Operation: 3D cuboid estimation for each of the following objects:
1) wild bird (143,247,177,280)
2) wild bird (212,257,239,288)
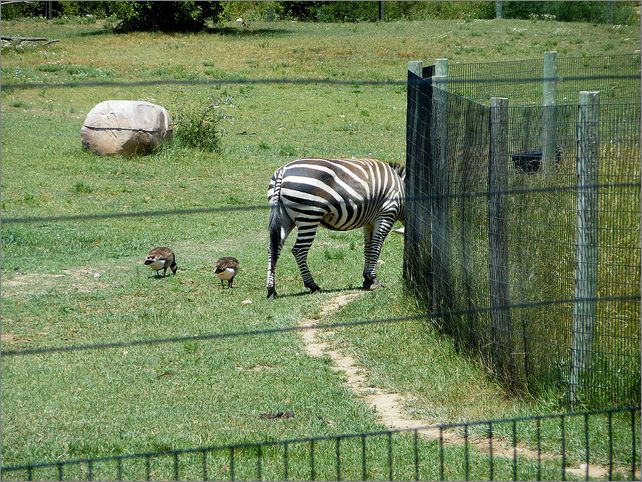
[{"bbox_3d":[-3.213,0.358,27.021,0.355,0.512,0.778,6,3,28],"label":"wild bird"},{"bbox_3d":[-1.901,0.557,26.686,0.311,0.505,0.701,0,0,2],"label":"wild bird"}]
